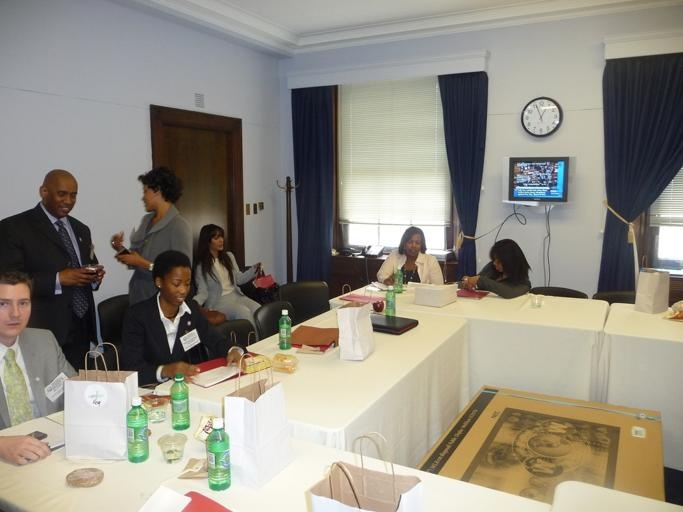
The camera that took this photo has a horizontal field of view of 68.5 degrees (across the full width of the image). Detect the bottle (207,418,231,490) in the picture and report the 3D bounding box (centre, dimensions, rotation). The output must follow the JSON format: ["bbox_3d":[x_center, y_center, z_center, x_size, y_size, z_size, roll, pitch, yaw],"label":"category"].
[{"bbox_3d":[-0.455,0.727,1.845,0.081,0.277,0.052,-5,8,-20],"label":"bottle"}]

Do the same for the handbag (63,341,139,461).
[{"bbox_3d":[-0.964,0.600,2.037,0.266,0.418,0.144,1,2,-1],"label":"handbag"}]

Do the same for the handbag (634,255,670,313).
[{"bbox_3d":[2.284,0.286,3.689,0.211,0.318,0.186,12,-5,-43],"label":"handbag"}]

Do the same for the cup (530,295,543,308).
[{"bbox_3d":[1.493,0.355,3.887,0.067,0.105,0.108,1,-4,-1],"label":"cup"}]

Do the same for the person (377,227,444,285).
[{"bbox_3d":[0.708,0.032,5.143,0.621,1.066,0.561,0,0,7],"label":"person"}]

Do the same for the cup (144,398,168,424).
[{"bbox_3d":[-0.845,0.707,2.293,0.090,0.072,0.090,1,-4,0],"label":"cup"}]

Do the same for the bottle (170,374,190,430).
[{"bbox_3d":[-0.714,0.653,2.223,0.106,0.232,0.109,-2,1,0],"label":"bottle"}]

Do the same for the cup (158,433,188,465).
[{"bbox_3d":[-0.679,0.785,2.018,0.067,0.066,0.070,1,5,0],"label":"cup"}]

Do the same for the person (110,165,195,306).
[{"bbox_3d":[-1.474,0.101,4.021,0.522,1.566,0.599,8,19,3],"label":"person"}]

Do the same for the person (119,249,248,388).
[{"bbox_3d":[-1.042,0.402,3.247,0.586,1.056,0.495,9,16,26],"label":"person"}]

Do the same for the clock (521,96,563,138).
[{"bbox_3d":[2.203,-1.515,5.479,0.439,0.478,0.077,-1,1,33],"label":"clock"}]
